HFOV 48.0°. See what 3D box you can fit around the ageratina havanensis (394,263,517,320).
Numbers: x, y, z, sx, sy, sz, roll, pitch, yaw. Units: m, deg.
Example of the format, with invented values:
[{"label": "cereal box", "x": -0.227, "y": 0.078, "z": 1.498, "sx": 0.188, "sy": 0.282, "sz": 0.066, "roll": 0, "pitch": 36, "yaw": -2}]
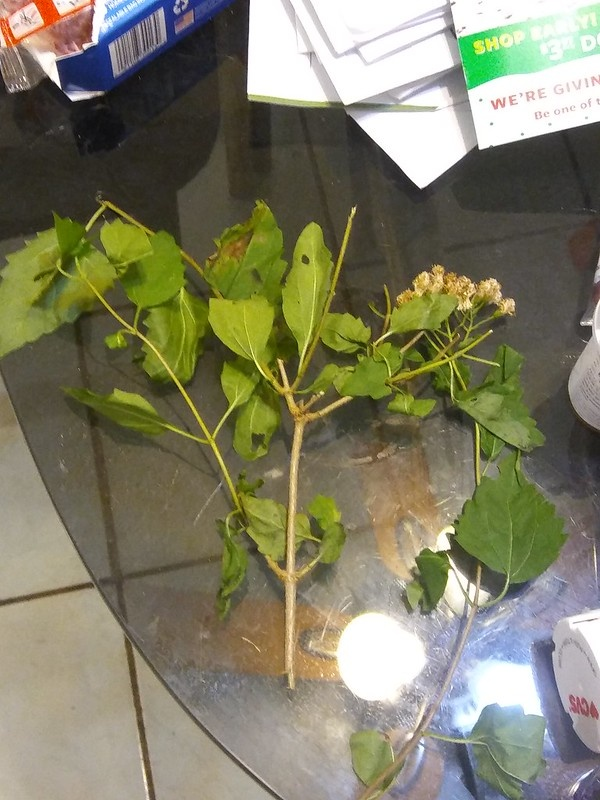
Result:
[{"label": "ageratina havanensis", "x": 0.129, "y": -0.085, "z": 0.550, "sx": 0.072, "sy": 0.029, "sz": 0.053, "roll": -27, "pitch": 83, "yaw": -19}]
